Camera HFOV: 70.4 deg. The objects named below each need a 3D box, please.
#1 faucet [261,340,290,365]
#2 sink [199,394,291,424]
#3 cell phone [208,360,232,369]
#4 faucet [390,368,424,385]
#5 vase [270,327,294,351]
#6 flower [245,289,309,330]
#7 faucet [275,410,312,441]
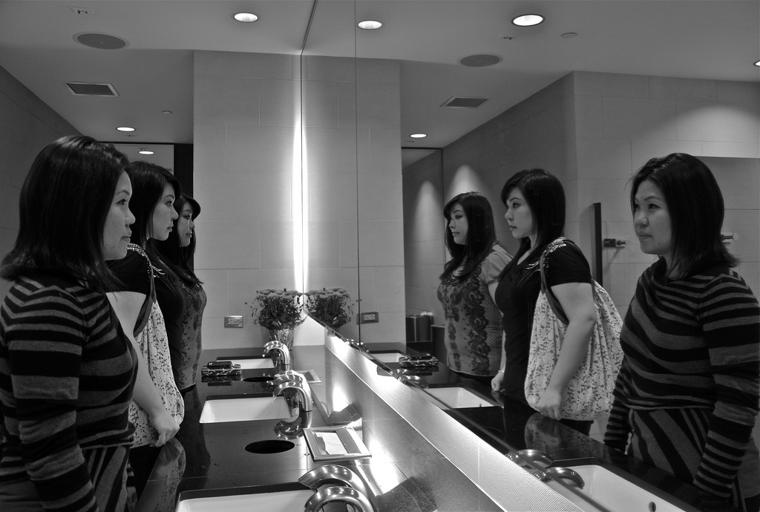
[{"bbox_3d":[-0.501,0.467,2.609,0.127,0.142,0.095,-8,19,1],"label":"faucet"},{"bbox_3d":[-0.608,0.699,2.455,0.340,0.118,0.226,3,-6,-18],"label":"sink"},{"bbox_3d":[-0.913,0.607,3.064,0.134,0.019,0.181,0,0,-19],"label":"cell phone"},{"bbox_3d":[0.070,0.299,1.335,0.025,0.033,0.173,23,-18,-17],"label":"faucet"},{"bbox_3d":[-0.607,0.517,3.419,0.171,0.142,0.190,-3,-12,15],"label":"vase"},{"bbox_3d":[-0.665,0.341,3.491,0.359,0.260,0.247,0,0,-11],"label":"flower"},{"bbox_3d":[-0.325,0.656,2.047,0.098,0.091,0.054,0,-1,-11],"label":"faucet"}]
